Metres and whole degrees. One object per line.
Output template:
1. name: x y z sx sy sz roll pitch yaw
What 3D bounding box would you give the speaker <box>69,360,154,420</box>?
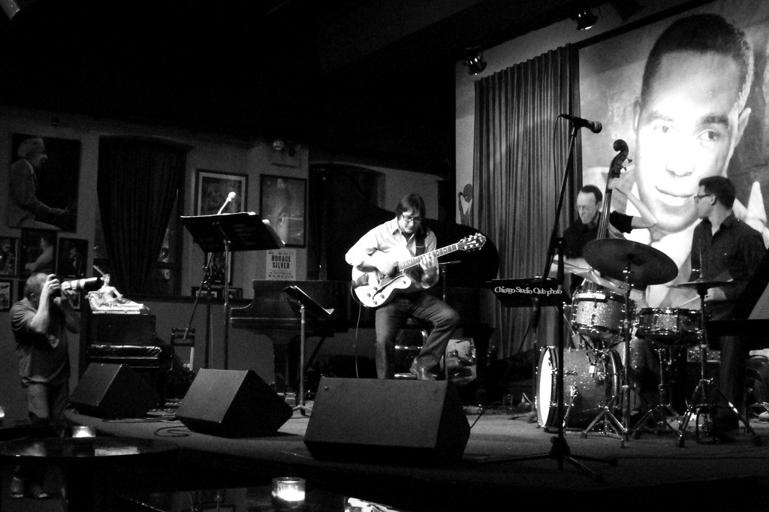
1. speaker: -2.625 1.332 7.797 0.584 0.463 0.624 9 -7 -28

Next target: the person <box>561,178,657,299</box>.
1. person: 2.661 -0.335 9.437 0.994 1.903 0.652 1 -8 34

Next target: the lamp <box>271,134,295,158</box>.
1. lamp: -1.729 -1.893 13.580 0.350 0.127 0.482 3 -3 3

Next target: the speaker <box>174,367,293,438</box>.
1. speaker: -1.281 1.267 6.904 0.671 0.458 0.747 7 -15 -35

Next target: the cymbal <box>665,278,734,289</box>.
1. cymbal: 2.913 0.256 7.387 0.340 0.079 0.340 -1 -5 -2

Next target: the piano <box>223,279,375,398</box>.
1. piano: -0.897 1.219 9.974 2.092 1.612 1.350 -3 -11 17

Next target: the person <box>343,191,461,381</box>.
1. person: 0.212 0.300 8.433 1.097 1.714 0.790 4 -1 -12

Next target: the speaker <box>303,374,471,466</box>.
1. speaker: -0.032 1.223 5.974 1.110 0.678 0.617 -2 0 15

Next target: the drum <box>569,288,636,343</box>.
1. drum: 2.102 0.611 7.639 0.541 0.349 0.506 20 -15 5

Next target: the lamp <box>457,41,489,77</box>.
1. lamp: 1.237 -2.755 10.982 0.287 0.362 0.453 4 -2 3

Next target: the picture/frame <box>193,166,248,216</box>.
1. picture/frame: -2.666 -1.034 12.861 1.144 1.048 0.075 -3 -1 -2

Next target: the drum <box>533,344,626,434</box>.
1. drum: 1.894 1.253 7.935 0.733 0.916 0.906 2 -7 -9

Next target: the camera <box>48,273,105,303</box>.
1. camera: -3.131 0.311 8.185 0.534 0.173 0.298 -5 5 15

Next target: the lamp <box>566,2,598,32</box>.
1. lamp: 2.384 -2.888 9.605 0.255 0.265 0.234 4 -1 1

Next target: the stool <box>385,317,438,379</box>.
1. stool: 0.280 1.074 9.749 0.897 0.872 0.668 0 -14 2

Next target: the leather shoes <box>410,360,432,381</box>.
1. leather shoes: 0.384 1.190 8.130 0.213 0.138 0.286 16 -3 -9
